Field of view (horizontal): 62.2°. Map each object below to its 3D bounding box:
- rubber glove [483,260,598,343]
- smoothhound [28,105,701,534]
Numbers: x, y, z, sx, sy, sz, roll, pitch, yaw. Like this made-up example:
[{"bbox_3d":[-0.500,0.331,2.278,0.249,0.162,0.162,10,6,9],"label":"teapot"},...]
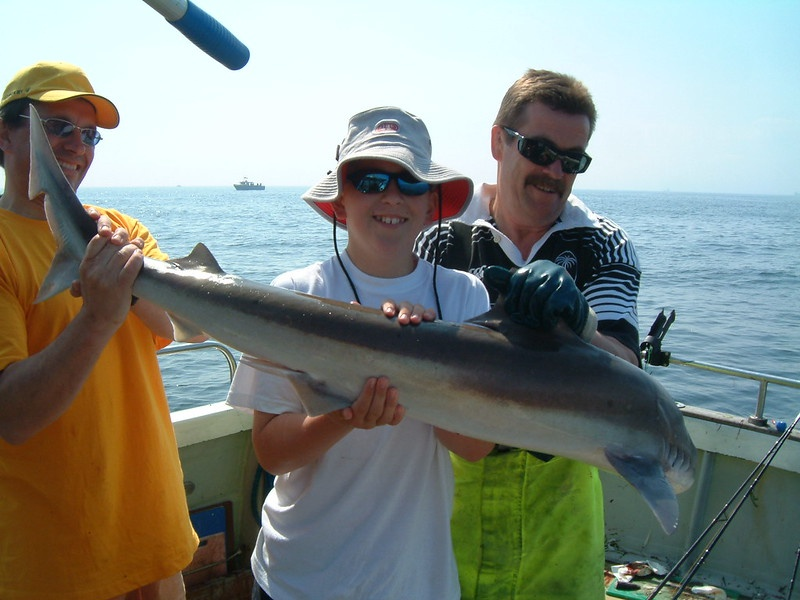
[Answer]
[{"bbox_3d":[0.641,0.017,3.140,0.435,0.348,0.197,37,-18,-10],"label":"rubber glove"},{"bbox_3d":[0.256,0.377,3.270,4.228,1.164,1.062,19,-33,-30],"label":"smoothhound"}]
